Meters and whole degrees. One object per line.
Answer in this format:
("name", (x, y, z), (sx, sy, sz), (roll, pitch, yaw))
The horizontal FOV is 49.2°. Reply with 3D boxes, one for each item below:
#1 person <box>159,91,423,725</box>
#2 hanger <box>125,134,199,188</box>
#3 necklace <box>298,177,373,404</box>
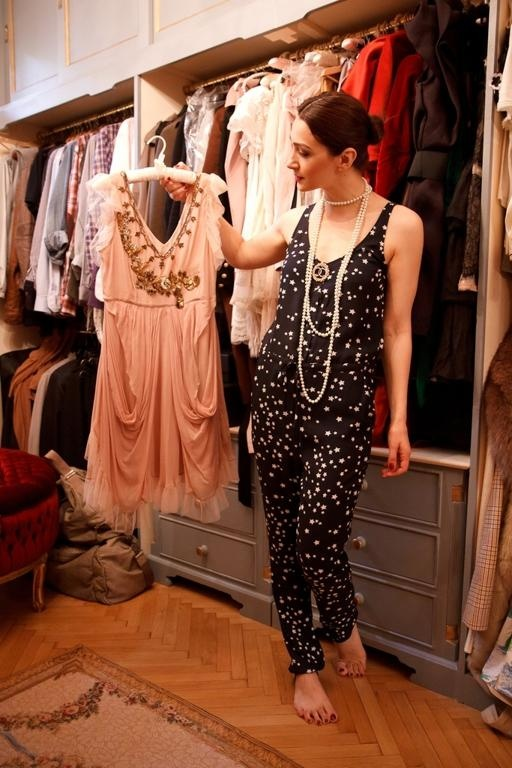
("person", (0.169, 0.118, 1.351), (0.359, 1.426, 0.394), (1, 0, -13))
("hanger", (-0.246, -0.561, 1.408), (0.191, 0.110, 0.034), (-14, 28, -32))
("necklace", (0.163, -0.173, 1.258), (0.146, 0.539, 0.035), (3, -2, 35))
